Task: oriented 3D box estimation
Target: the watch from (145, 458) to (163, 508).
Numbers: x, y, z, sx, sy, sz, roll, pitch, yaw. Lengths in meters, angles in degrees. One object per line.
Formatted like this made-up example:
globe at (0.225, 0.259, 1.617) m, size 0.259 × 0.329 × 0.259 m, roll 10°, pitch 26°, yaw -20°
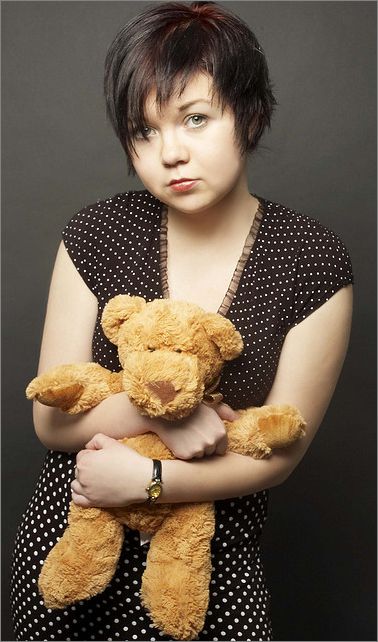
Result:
watch at (-0.046, 0.228, 0.852) m, size 0.033 × 0.056 × 0.058 m, roll -2°, pitch 21°, yaw -5°

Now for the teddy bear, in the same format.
teddy bear at (-0.047, 0.247, 0.894) m, size 0.373 × 0.570 × 0.349 m, roll 15°, pitch 36°, yaw 12°
